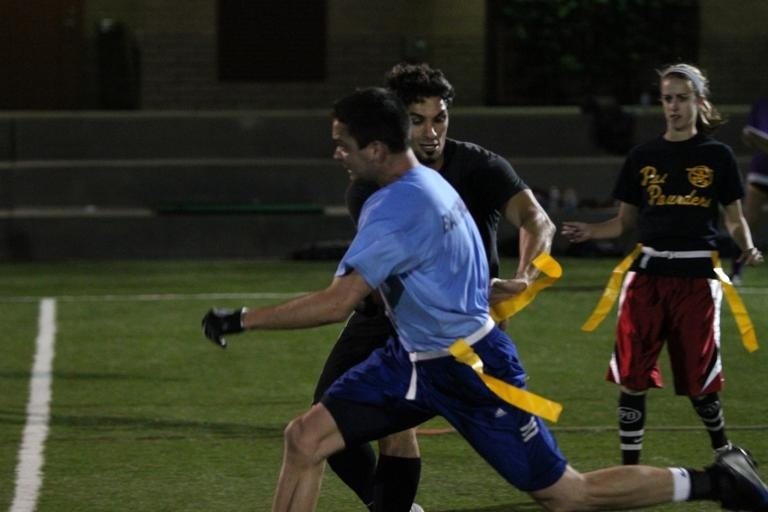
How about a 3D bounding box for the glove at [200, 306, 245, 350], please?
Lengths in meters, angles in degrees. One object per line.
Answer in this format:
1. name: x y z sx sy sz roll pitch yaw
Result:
1. glove: -1.239 0.562 10.564 0.319 0.299 0.179 2 8 10
